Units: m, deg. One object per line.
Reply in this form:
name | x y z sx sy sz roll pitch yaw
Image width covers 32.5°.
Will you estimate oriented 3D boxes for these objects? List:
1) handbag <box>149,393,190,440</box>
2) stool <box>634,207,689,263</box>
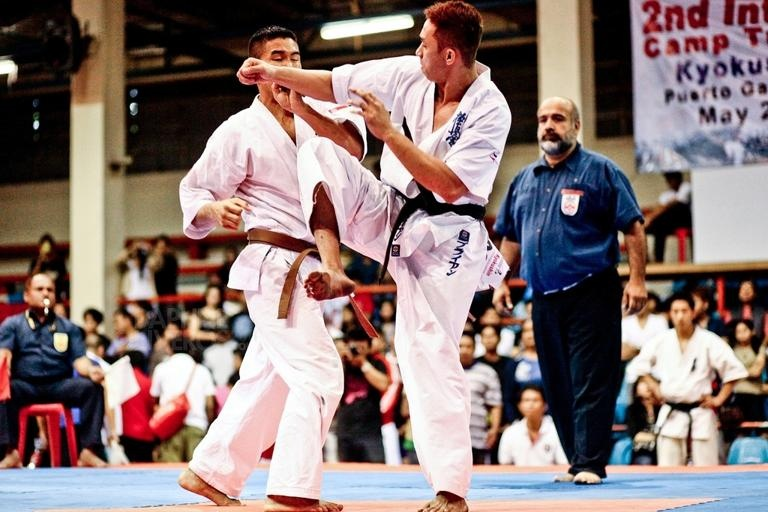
handbag | -2.900 2.185 18.029 0.224 0.621 0.455 34 -17 42
stool | 4.259 -0.399 20.725 0.969 1.159 0.903 1 -2 15
